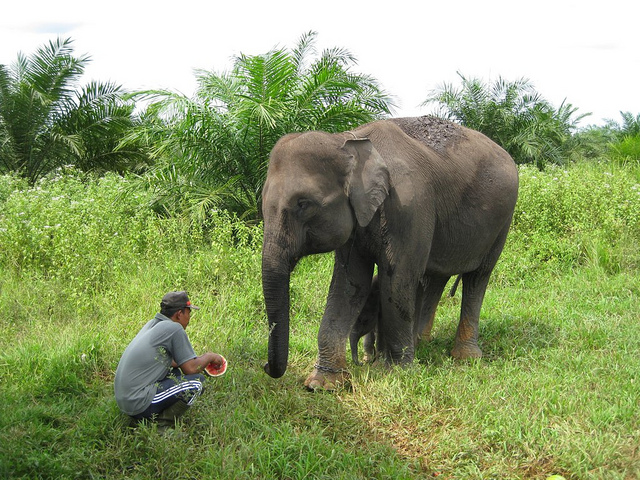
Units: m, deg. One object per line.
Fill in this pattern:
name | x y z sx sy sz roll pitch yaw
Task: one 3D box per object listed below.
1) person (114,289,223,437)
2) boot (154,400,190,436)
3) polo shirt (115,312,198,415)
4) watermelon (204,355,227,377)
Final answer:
person | -1.272 1.035 4.862 0.728 1.157 0.818 1 -2 12
boot | -1.128 1.401 4.716 0.338 0.214 0.156 -23 2 -40
polo shirt | -1.339 0.966 4.861 0.740 0.698 0.545 -6 6 -30
watermelon | -0.859 1.038 4.807 0.188 0.157 0.140 5 1 44
